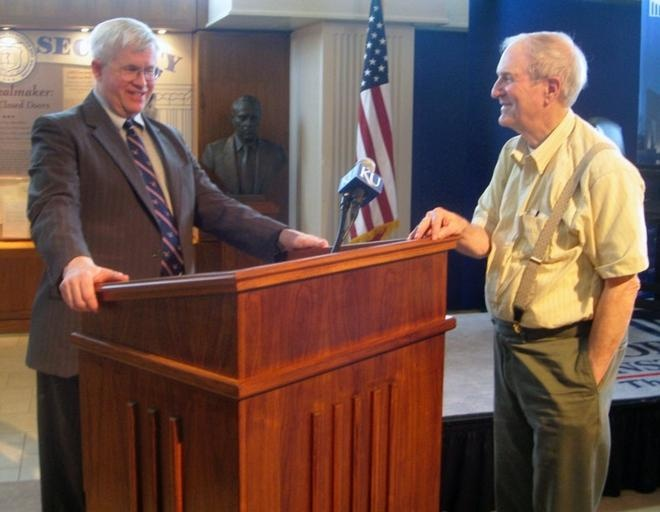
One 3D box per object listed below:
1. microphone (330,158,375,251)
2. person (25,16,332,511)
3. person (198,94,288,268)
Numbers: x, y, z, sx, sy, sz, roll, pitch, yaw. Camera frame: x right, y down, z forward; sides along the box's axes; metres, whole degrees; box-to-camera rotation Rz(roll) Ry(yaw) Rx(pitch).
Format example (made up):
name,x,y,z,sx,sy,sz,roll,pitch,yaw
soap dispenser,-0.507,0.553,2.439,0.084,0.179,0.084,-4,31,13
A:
name,x,y,z,sx,sy,sz,roll,pitch,yaw
microphone,0.078,-0.160,2.015,0.132,0.276,0.315,1,7,3
person,-0.624,0.080,2.323,0.797,1.847,0.800,-2,7,-28
person,-0.642,-0.723,5.590,0.992,1.597,0.801,-1,8,-13
